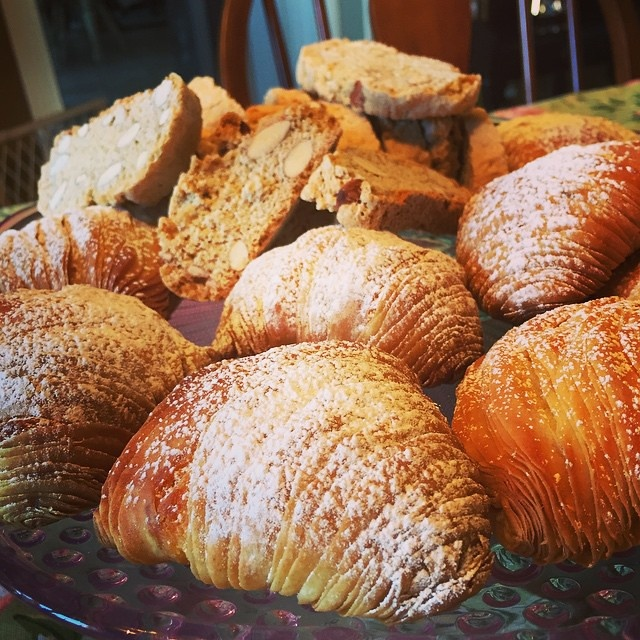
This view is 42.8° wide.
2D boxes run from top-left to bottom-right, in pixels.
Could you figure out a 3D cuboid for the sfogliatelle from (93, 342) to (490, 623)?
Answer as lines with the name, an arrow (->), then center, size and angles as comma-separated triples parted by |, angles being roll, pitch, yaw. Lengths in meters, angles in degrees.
sfogliatelle -> 0.006, 0.119, 0.697 | 0.422, 0.118, 0.205 | 6, 40, 19
